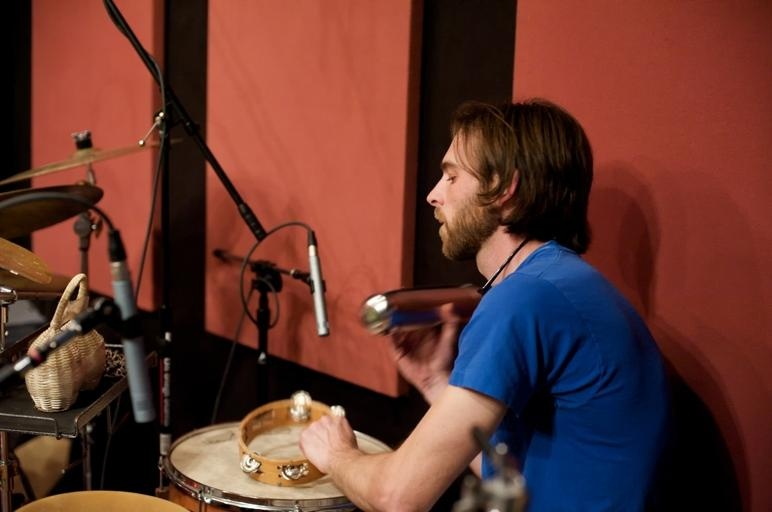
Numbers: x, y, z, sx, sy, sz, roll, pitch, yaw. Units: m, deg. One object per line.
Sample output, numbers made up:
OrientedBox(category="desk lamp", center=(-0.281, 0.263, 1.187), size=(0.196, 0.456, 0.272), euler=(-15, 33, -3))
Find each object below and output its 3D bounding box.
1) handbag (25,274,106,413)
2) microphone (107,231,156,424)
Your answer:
OrientedBox(category="handbag", center=(-1.095, 0.279, 2.579), size=(0.253, 0.446, 0.288), euler=(1, 7, -25))
OrientedBox(category="microphone", center=(-0.645, 0.188, 1.897), size=(0.114, 0.511, 0.184), euler=(1, 7, -20))
